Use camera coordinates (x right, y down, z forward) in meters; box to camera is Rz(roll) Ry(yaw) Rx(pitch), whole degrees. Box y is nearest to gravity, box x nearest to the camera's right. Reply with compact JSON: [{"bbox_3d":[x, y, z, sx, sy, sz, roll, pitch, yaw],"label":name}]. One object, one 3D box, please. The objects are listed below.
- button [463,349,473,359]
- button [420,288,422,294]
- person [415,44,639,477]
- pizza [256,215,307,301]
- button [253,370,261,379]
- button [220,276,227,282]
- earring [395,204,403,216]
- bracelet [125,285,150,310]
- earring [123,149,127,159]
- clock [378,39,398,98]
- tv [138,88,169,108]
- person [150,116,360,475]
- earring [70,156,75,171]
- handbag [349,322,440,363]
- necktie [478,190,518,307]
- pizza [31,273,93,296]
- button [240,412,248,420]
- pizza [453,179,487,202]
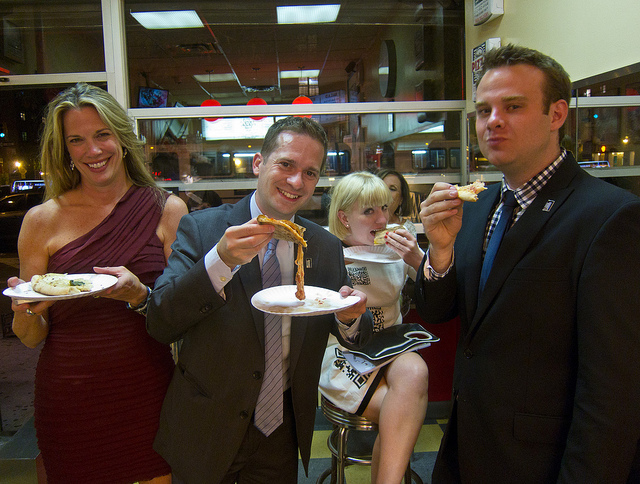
[{"bbox_3d":[0.646,0.497,2.199,0.013,0.046,0.044,-9,13,-33],"label":"button"},{"bbox_3d":[0.482,0.238,2.399,0.002,0.026,0.017,-7,12,-23],"label":"button"},{"bbox_3d":[0.876,0.134,2.109,0.581,1.918,0.929,-11,14,-38],"label":"person"},{"bbox_3d":[-0.114,0.036,2.186,0.242,0.355,0.138,1,28,32],"label":"pizza"},{"bbox_3d":[-0.283,0.596,2.231,0.035,0.036,0.008,1,-8,-9],"label":"button"},{"bbox_3d":[-0.404,0.156,2.099,0.029,0.023,0.005,-1,11,5],"label":"button"},{"bbox_3d":[0.657,-0.264,4.162,0.027,0.100,0.071,6,14,37],"label":"earring"},{"bbox_3d":[-0.873,0.294,2.424,0.122,0.127,0.042,13,-11,37],"label":"bracelet"},{"bbox_3d":[-1.034,-0.474,2.663,0.022,0.043,0.050,-6,12,-22],"label":"earring"},{"bbox_3d":[0.728,-1.877,5.381,0.203,0.646,0.487,-1,11,7],"label":"clock"},{"bbox_3d":[-1.575,-1.367,4.710,0.201,0.147,0.028,-3,10,-20],"label":"tv"},{"bbox_3d":[-0.321,0.304,2.344,1.008,1.738,0.609,-1,11,4],"label":"person"},{"bbox_3d":[-1.299,-0.417,2.631,0.018,0.066,0.020,4,13,27],"label":"earring"},{"bbox_3d":[0.421,0.603,2.899,0.433,0.143,0.260,-5,11,-15],"label":"handbag"},{"bbox_3d":[0.790,0.021,2.230,0.111,0.478,0.290,7,14,37],"label":"necktie"},{"bbox_3d":[-1.147,0.191,2.249,0.322,0.070,0.176,4,12,27],"label":"pizza"},{"bbox_3d":[-0.337,0.779,2.222,0.033,0.034,0.008,-4,11,-8],"label":"button"},{"bbox_3d":[0.689,-0.235,2.331,0.128,0.049,0.132,-3,32,47],"label":"pizza"}]
